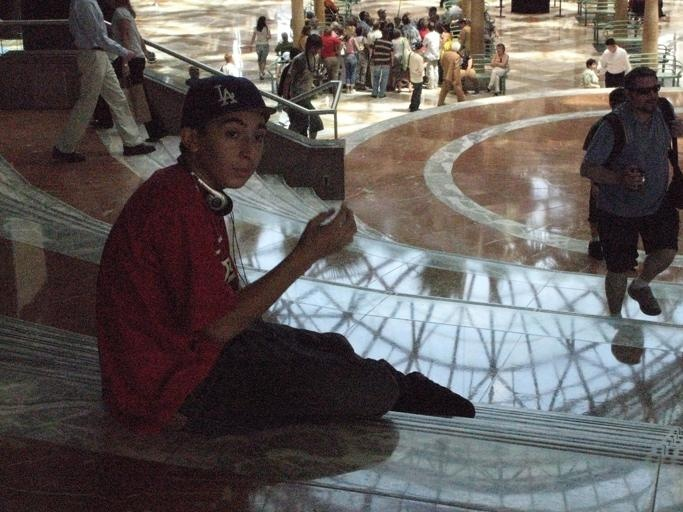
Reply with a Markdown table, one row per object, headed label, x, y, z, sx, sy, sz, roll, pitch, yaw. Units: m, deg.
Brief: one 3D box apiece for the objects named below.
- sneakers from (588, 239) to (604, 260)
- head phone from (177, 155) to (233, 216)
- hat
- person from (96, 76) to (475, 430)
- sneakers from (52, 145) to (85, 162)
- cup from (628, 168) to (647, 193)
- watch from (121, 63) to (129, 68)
| label | x | y | z | sx | sy | sz | roll | pitch | yaw |
| --- | --- | --- | --- | --- | --- | --- | --- | --- | --- |
| sneakers | 3.195 | -0.077 | 6.755 | 0.210 | 0.213 | 0.208 | -7 | 15 | 10 |
| head phone | -0.492 | -0.256 | 1.905 | 0.221 | 0.082 | 0.228 | 44 | 0 | 5 |
| hat | -0.403 | -0.535 | 1.934 | 0.269 | 0.119 | 0.199 | -13 | 19 | 5 |
| person | -0.421 | -0.033 | 2.538 | 1.595 | 1.373 | 0.965 | -1 | 20 | -11 |
| sneakers | -3.570 | -1.346 | 7.018 | 0.405 | 0.170 | 0.176 | 0 | 22 | -16 |
| cup | 2.408 | -0.634 | 4.414 | 0.150 | 0.188 | 0.201 | 1 | 16 | 13 |
| watch | -2.942 | -2.601 | 7.284 | 0.072 | 0.023 | 0.071 | -2 | -5 | 1 |
